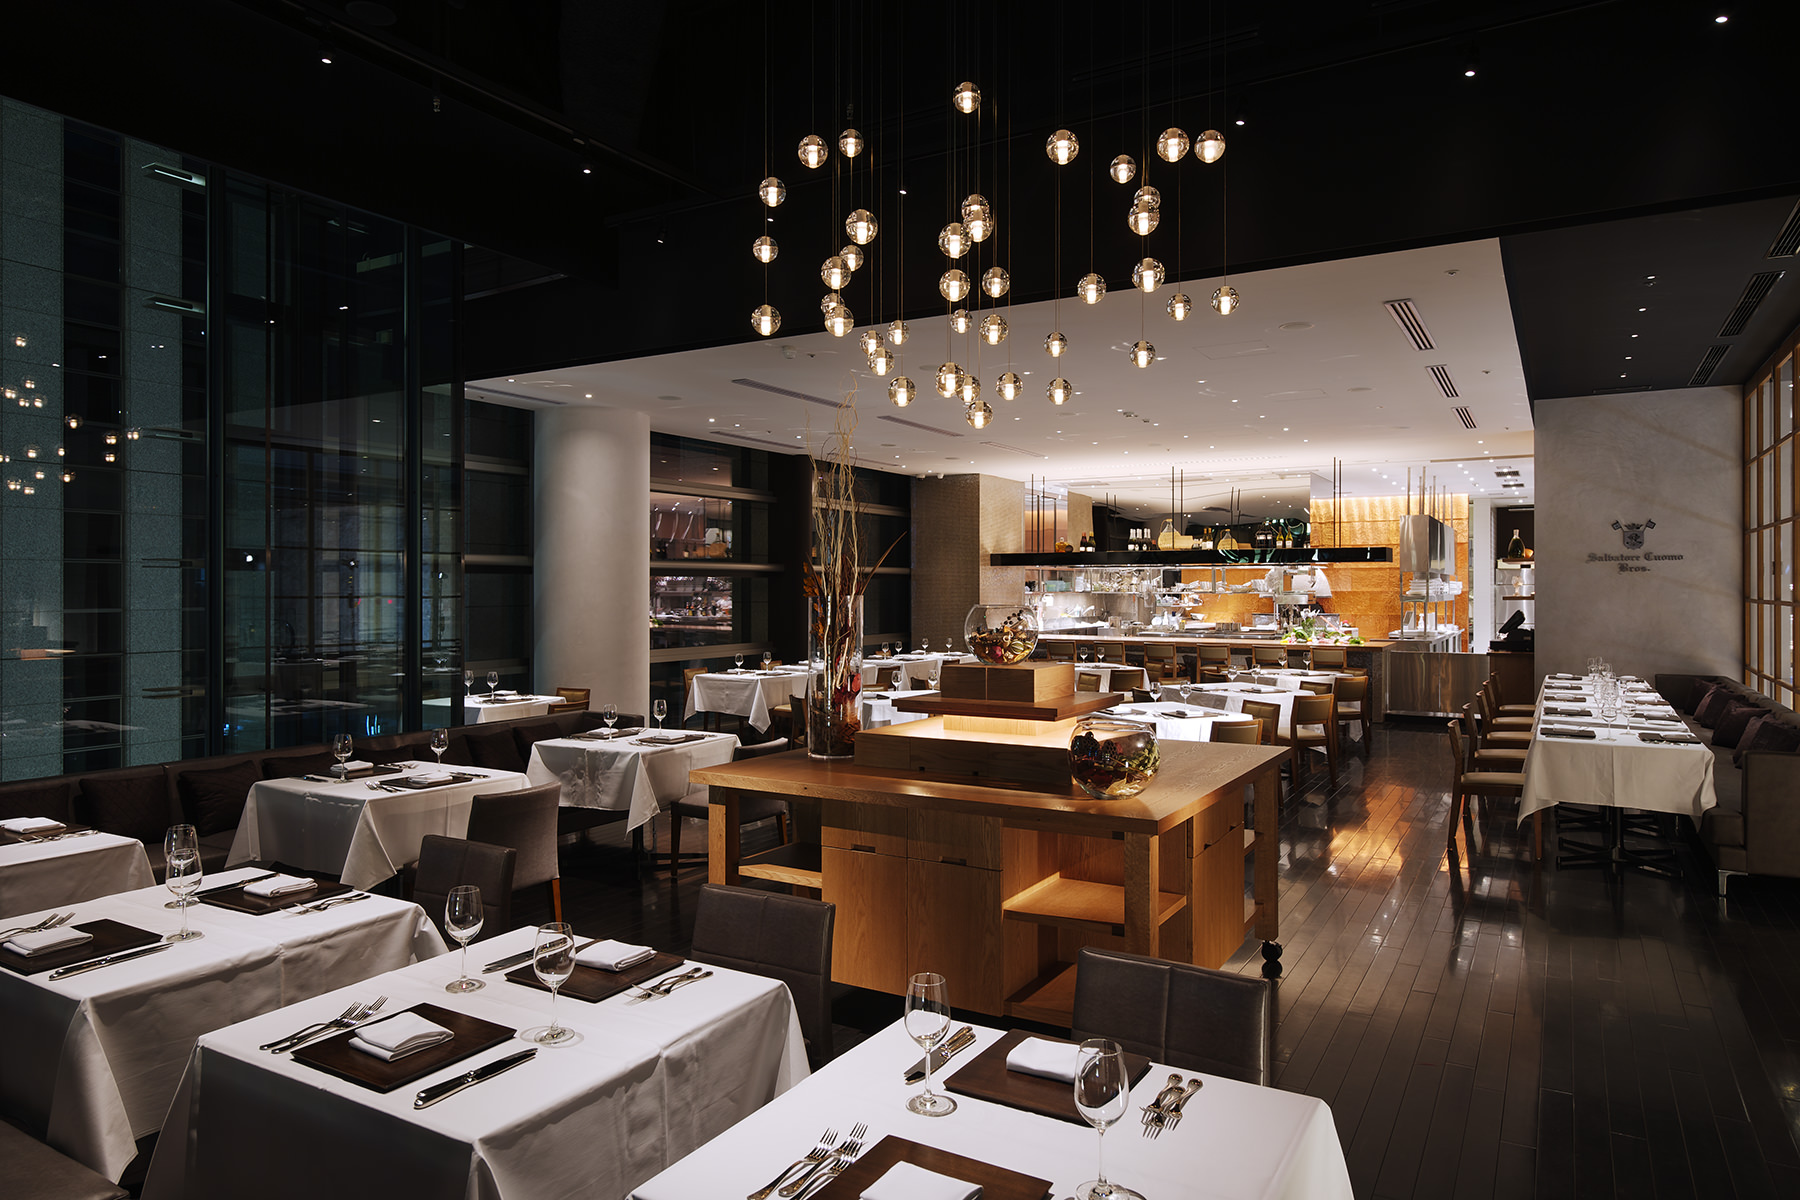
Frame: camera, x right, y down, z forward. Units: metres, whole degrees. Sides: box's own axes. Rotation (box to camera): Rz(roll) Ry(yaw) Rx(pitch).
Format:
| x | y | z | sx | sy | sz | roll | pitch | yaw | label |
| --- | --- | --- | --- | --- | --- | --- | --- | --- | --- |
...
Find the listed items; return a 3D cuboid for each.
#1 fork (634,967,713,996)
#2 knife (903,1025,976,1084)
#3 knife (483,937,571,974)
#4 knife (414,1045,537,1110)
| x | y | z | sx | sy | sz | roll | pitch | yaw | label |
| --- | --- | --- | --- | --- | --- | --- | --- | --- | --- |
| -0.886 | 1.510 | 4.709 | 0.088 | 0.056 | 0.282 | 4 | 4 | 36 | fork |
| 0.154 | 1.642 | 4.288 | 0.109 | 0.058 | 0.475 | 4 | 1 | 23 | knife |
| -1.465 | 1.402 | 4.671 | 0.187 | 0.066 | 0.322 | -1 | -4 | 30 | knife |
| -1.520 | 1.697 | 4.230 | 0.116 | 0.080 | 0.523 | 21 | 22 | 39 | knife |
